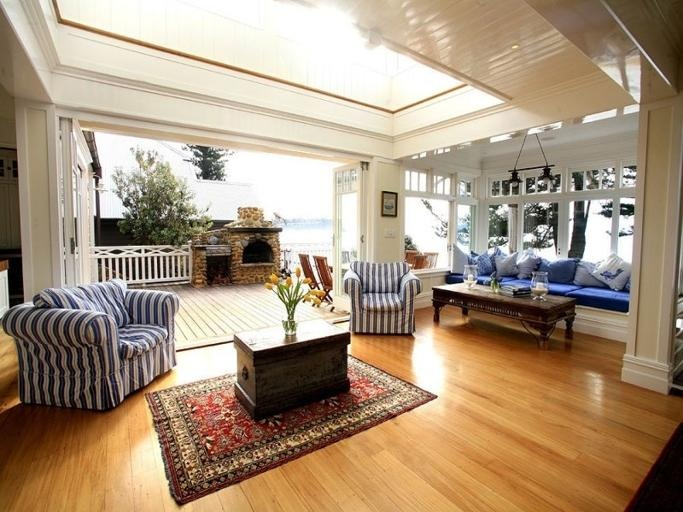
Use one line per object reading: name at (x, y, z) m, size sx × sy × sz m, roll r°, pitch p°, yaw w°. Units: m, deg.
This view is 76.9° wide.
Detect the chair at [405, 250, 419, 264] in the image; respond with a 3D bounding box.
chair at (1.239, 0.031, 7.665) m, size 0.204 × 0.178 × 0.222 m, roll 2°, pitch -6°, yaw 0°

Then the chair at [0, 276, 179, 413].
chair at (-2.354, 0.864, 4.309) m, size 1.174 × 1.178 × 1.566 m, roll -2°, pitch -2°, yaw 12°

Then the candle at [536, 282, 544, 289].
candle at (2.524, 0.377, 5.470) m, size 0.077 × 0.087 × 0.076 m, roll 5°, pitch -7°, yaw -32°

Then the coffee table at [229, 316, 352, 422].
coffee table at (-0.490, 0.767, 4.065) m, size 1.221 × 0.753 × 0.661 m, roll -1°, pitch 0°, yaw -33°

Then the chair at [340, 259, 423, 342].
chair at (0.523, 0.574, 6.028) m, size 1.080 × 0.855 × 0.840 m, roll 2°, pitch 9°, yaw 1°

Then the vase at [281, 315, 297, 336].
vase at (-0.501, 0.675, 4.170) m, size 0.159 × 0.176 × 0.153 m, roll -2°, pitch 2°, yaw -5°

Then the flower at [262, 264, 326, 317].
flower at (-0.468, 0.422, 4.250) m, size 0.365 × 0.465 × 0.442 m, roll 1°, pitch -22°, yaw 25°

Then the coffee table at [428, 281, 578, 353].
coffee table at (2.158, 0.766, 5.845) m, size 1.643 × 0.564 × 0.700 m, roll 7°, pitch 10°, yaw 41°

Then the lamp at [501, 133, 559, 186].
lamp at (3.188, -1.687, 7.257) m, size 0.741 × 1.058 × 0.243 m, roll -1°, pitch -4°, yaw 37°
